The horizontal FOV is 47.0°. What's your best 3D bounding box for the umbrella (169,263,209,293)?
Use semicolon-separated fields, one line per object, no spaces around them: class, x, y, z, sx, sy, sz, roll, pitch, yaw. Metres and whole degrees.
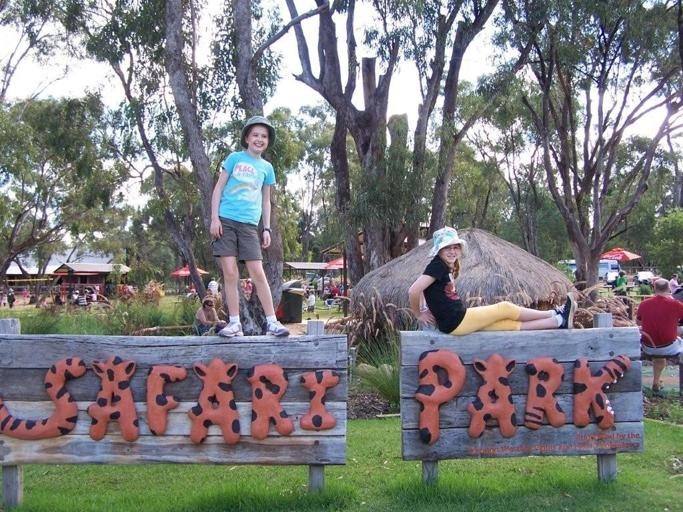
umbrella;-9.512;1.391;48.852;1.761;1.896;1.946;0;-5;3

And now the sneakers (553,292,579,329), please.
sneakers;3.221;0.764;11.282;0.245;0.699;0.213;3;16;1

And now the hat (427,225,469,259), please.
hat;1.502;-0.229;11.378;0.380;0.317;0.548;-6;-5;2

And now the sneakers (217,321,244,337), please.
sneakers;-1.550;1.037;11.040;0.146;0.218;0.430;-3;-10;31

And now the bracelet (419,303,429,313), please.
bracelet;1.199;0.750;11.392;0.104;0.118;0.107;-2;5;-32
